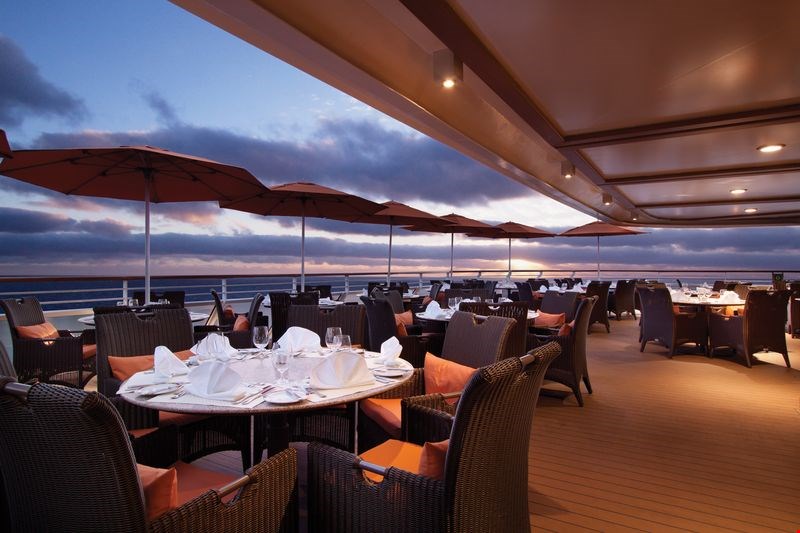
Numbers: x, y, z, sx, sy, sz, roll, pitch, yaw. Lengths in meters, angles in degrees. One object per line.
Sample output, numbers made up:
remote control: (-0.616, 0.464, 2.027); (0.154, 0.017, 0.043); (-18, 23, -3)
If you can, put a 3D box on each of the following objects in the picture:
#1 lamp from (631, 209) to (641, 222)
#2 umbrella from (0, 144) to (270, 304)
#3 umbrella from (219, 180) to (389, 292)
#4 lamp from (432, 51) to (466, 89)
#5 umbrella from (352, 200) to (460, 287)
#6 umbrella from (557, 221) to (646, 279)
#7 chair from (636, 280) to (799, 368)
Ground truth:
lamp: (5.208, -1.135, 10.595); (0.122, 0.120, 0.221); (-1, -14, 11)
umbrella: (-3.161, -0.834, 5.987); (2.504, 1.555, 2.277); (2, 0, 7)
umbrella: (-1.510, -0.500, 8.008); (2.262, 1.351, 2.150); (2, 1, 5)
lamp: (0.413, -1.654, 4.105); (0.250, 0.231, 0.242); (3, -2, -6)
umbrella: (0.112, -0.556, 9.590); (1.816, 1.195, 1.871); (-1, 2, -18)
umbrella: (5.022, -0.498, 12.218); (1.979, 1.439, 2.175); (-6, 8, 18)
chair: (4.689, 0.959, 7.129); (1.541, 0.847, 1.497); (-1, -1, -7)
